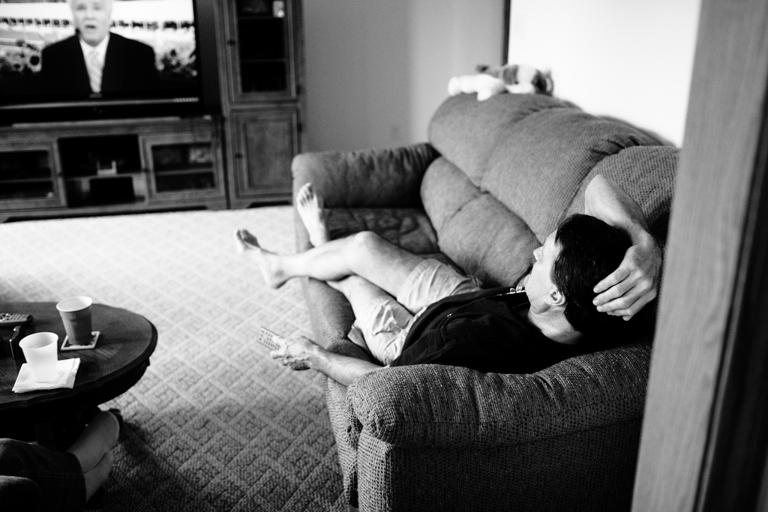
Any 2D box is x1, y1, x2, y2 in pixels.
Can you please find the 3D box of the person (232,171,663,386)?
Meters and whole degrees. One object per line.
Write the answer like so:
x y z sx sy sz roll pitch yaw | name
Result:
0.158 0.096 1.674 0.658 0.379 0.875 -17 35 -31 | person
